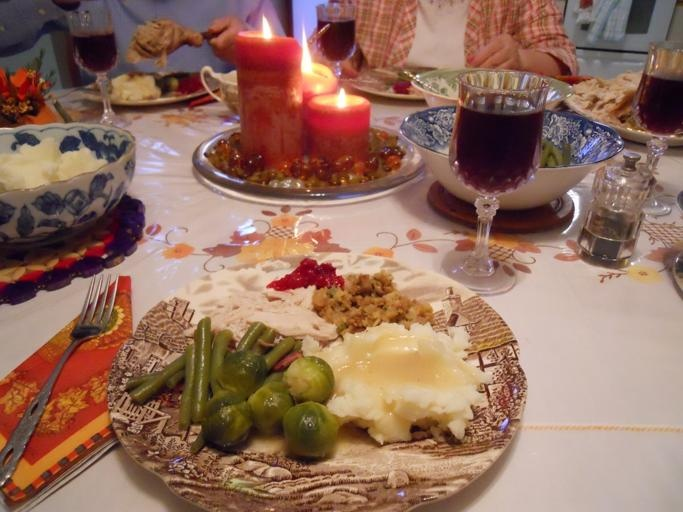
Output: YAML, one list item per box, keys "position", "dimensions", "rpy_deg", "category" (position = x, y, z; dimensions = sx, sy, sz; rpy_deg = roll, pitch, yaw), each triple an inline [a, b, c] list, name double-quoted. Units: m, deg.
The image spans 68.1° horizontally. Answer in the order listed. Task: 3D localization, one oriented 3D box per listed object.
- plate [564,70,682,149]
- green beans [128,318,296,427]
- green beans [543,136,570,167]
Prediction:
- position: [1.053, -0.620, 1.925]
  dimensions: [0.399, 0.099, 0.396]
  rpy_deg: [-20, 39, -28]
  category: "plate"
- position: [-0.249, 0.159, 0.951]
  dimensions: [0.184, 0.071, 0.228]
  rpy_deg: [15, 36, 27]
  category: "green beans"
- position: [0.639, -0.310, 1.509]
  dimensions: [0.106, 0.043, 0.105]
  rpy_deg: [9, 41, 20]
  category: "green beans"
